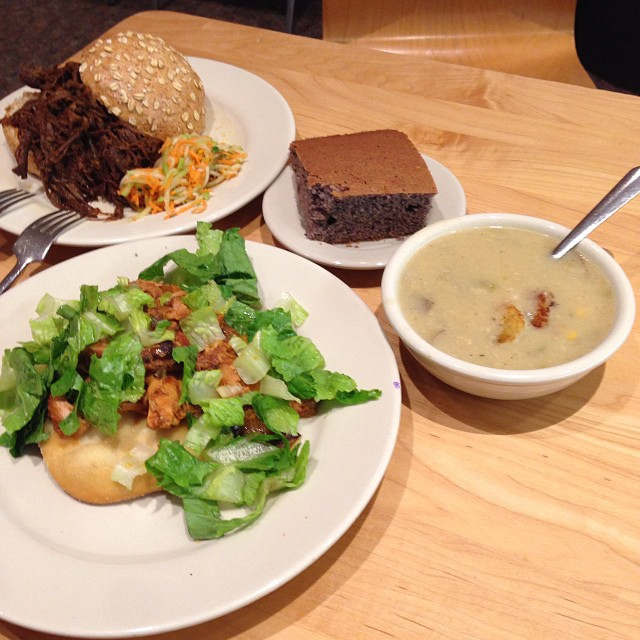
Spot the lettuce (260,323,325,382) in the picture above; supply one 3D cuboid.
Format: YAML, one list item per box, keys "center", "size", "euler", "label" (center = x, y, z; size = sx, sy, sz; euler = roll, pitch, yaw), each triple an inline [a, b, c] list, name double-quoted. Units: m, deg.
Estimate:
- center: [-0.044, 0.096, 1.717]
  size: [0.139, 0.125, 0.208]
  euler: [-22, 35, -39]
  label: "lettuce"

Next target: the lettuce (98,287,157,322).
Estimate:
- center: [-0.544, -0.051, 1.740]
  size: [0.125, 0.034, 0.094]
  euler: [-19, 70, -34]
  label: "lettuce"

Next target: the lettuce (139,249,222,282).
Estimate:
- center: [-0.425, -0.167, 1.899]
  size: [0.136, 0.046, 0.144]
  euler: [-14, 31, -22]
  label: "lettuce"

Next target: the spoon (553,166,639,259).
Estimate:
- center: [0.888, -0.346, 1.827]
  size: [0.103, 0.083, 0.594]
  euler: [50, 54, -1]
  label: "spoon"

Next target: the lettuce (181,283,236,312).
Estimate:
- center: [-0.317, -0.064, 1.779]
  size: [0.117, 0.024, 0.095]
  euler: [0, 36, -23]
  label: "lettuce"

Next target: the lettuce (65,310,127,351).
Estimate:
- center: [-0.621, 0.021, 1.687]
  size: [0.153, 0.037, 0.110]
  euler: [-11, 56, -24]
  label: "lettuce"

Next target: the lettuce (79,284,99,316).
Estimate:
- center: [-0.656, -0.057, 1.740]
  size: [0.067, 0.024, 0.074]
  euler: [4, 87, -10]
  label: "lettuce"

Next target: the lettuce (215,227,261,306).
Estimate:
- center: [-0.242, -0.161, 1.848]
  size: [0.151, 0.059, 0.210]
  euler: [-15, 61, -13]
  label: "lettuce"

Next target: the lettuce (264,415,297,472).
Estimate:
- center: [-0.078, 0.321, 1.545]
  size: [0.048, 0.073, 0.099]
  euler: [33, 35, -11]
  label: "lettuce"

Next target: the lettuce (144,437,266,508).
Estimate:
- center: [-0.272, 0.365, 1.492]
  size: [0.283, 0.069, 0.123]
  euler: [12, 36, 0]
  label: "lettuce"

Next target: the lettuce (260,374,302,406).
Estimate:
- center: [-0.115, 0.180, 1.613]
  size: [0.133, 0.037, 0.047]
  euler: [25, 86, 10]
  label: "lettuce"

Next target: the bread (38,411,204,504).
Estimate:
- center: [-0.507, 0.353, 1.567]
  size: [0.274, 0.095, 0.235]
  euler: [-19, 35, -36]
  label: "bread"

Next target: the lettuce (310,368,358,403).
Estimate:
- center: [0.027, 0.163, 1.588]
  size: [0.099, 0.019, 0.088]
  euler: [-10, 35, -16]
  label: "lettuce"

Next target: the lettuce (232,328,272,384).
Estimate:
- center: [-0.175, 0.104, 1.650]
  size: [0.086, 0.094, 0.119]
  euler: [8, 21, -2]
  label: "lettuce"

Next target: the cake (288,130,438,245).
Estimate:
- center: [0.150, -0.480, 2.145]
  size: [0.530, 0.194, 0.411]
  euler: [-9, 50, -7]
  label: "cake"

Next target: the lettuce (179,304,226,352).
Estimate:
- center: [-0.325, 0.025, 1.719]
  size: [0.139, 0.034, 0.123]
  euler: [-32, 92, 10]
  label: "lettuce"
